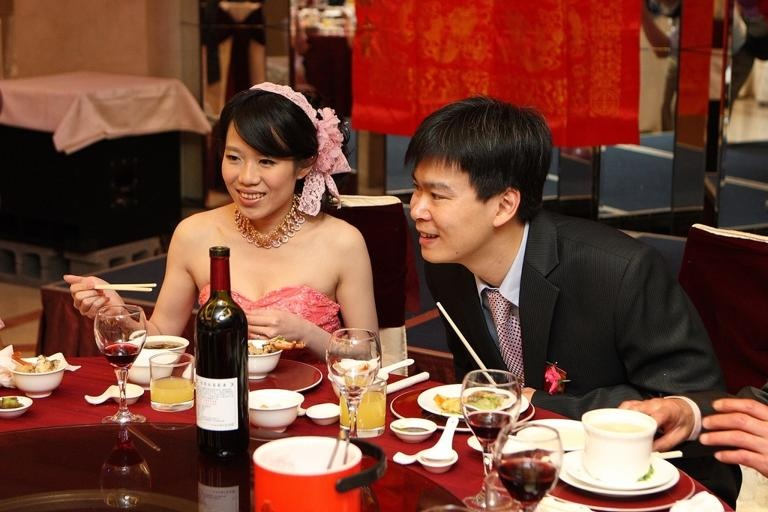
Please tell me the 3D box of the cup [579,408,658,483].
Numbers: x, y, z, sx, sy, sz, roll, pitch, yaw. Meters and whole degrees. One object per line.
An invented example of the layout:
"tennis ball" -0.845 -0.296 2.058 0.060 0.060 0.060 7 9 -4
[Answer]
"cup" 0.519 0.421 1.515 0.150 0.120 0.148 0 15 0

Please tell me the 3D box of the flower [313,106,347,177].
"flower" -0.216 -0.476 2.758 0.074 0.276 0.168 4 7 42

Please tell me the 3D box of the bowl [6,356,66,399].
"bowl" -0.937 0.331 1.818 0.117 0.075 0.118 -5 -2 0

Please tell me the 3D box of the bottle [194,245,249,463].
"bottle" -0.367 0.223 1.501 0.116 0.495 0.122 0 5 0

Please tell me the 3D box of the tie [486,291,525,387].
"tie" 0.423 0.254 2.270 0.072 0.373 0.066 -17 1 13

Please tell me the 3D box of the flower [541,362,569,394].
"flower" 0.550 0.396 2.148 0.085 0.088 0.029 14 7 15

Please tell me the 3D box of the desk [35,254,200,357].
"desk" -1.365 0.286 3.404 0.735 0.302 0.741 -7 23 -13

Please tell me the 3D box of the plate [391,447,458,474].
"plate" 0.097 0.475 1.547 0.093 0.021 0.067 2 13 5

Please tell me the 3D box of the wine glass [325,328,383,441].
"wine glass" -0.075 0.327 1.615 0.134 0.258 0.326 0 5 -1
